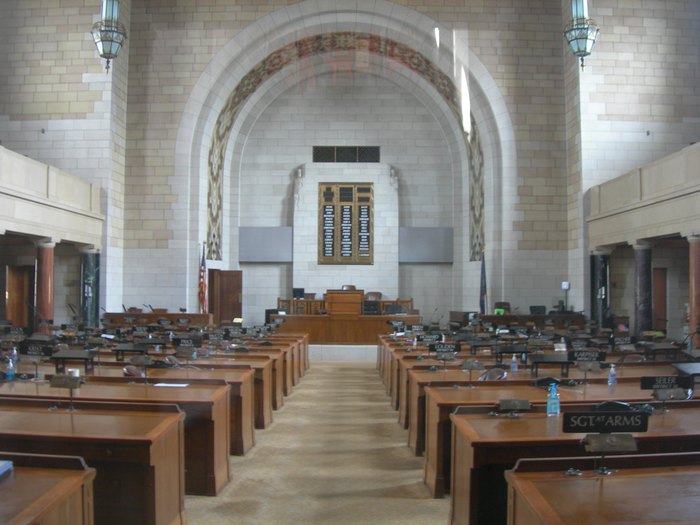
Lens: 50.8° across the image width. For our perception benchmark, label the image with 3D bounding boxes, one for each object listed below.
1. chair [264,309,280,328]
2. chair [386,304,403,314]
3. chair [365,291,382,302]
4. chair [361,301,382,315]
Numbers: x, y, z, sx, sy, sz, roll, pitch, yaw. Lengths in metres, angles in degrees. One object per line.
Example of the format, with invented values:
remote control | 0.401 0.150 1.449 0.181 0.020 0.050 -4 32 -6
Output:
chair | -1.941 1.369 18.296 0.454 0.421 0.803 6 -9 -4
chair | 1.244 1.209 19.892 0.579 0.248 0.186 -6 9 -35
chair | 0.720 1.003 22.374 0.448 0.220 0.290 0 2 1
chair | 0.555 1.173 19.079 0.613 0.409 0.322 3 -17 -9
